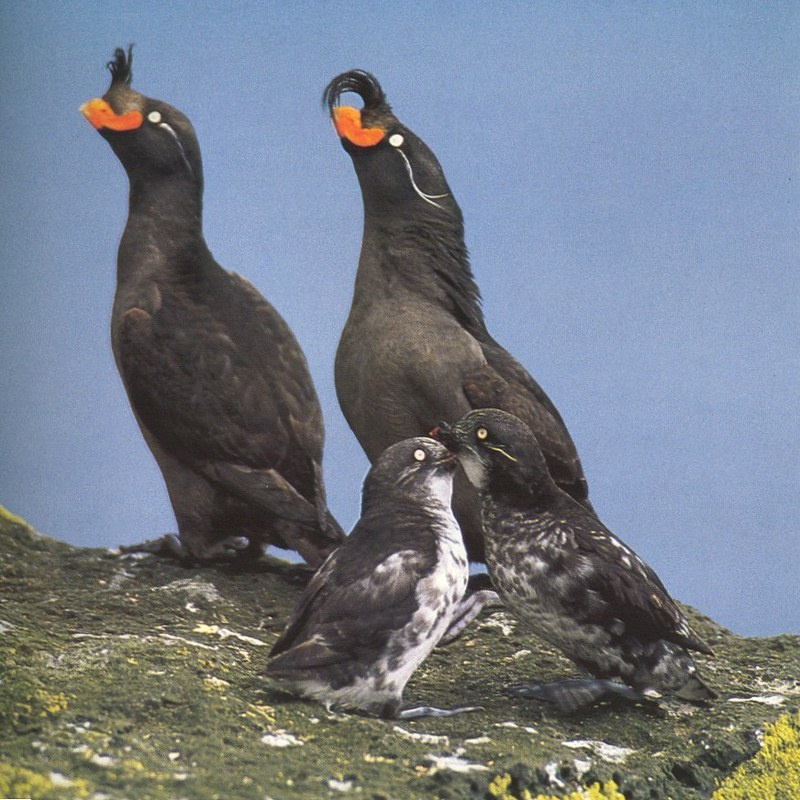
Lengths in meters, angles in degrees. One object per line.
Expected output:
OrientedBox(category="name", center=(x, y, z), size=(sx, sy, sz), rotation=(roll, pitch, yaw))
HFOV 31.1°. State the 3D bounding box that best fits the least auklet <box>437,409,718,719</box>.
OrientedBox(category="least auklet", center=(0.486, 0.483, 4.283), size=(1.074, 0.830, 0.485), rotation=(6, -3, -29))
